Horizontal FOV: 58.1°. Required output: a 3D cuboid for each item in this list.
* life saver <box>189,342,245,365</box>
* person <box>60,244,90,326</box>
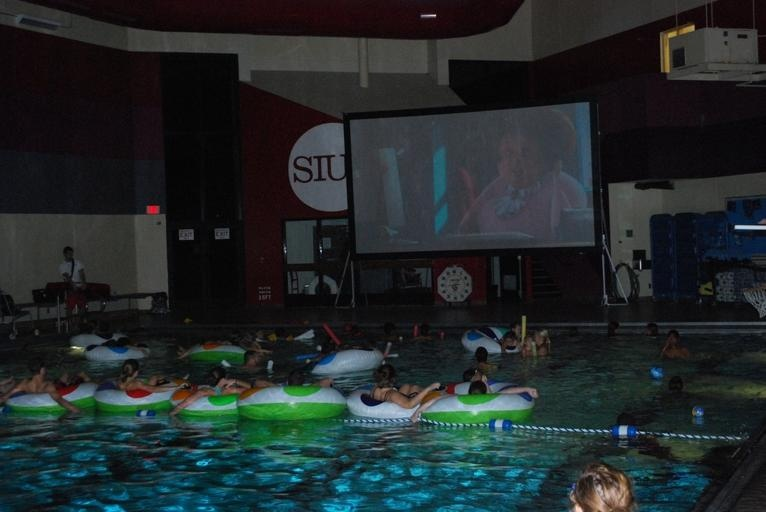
[{"bbox_3d":[-3.447,1.986,14.291,1.029,0.352,0.517,0,1,2],"label":"life saver"},{"bbox_3d":[-7.798,0.744,17.519,0.627,1.898,0.865,0,0,-11],"label":"person"}]
